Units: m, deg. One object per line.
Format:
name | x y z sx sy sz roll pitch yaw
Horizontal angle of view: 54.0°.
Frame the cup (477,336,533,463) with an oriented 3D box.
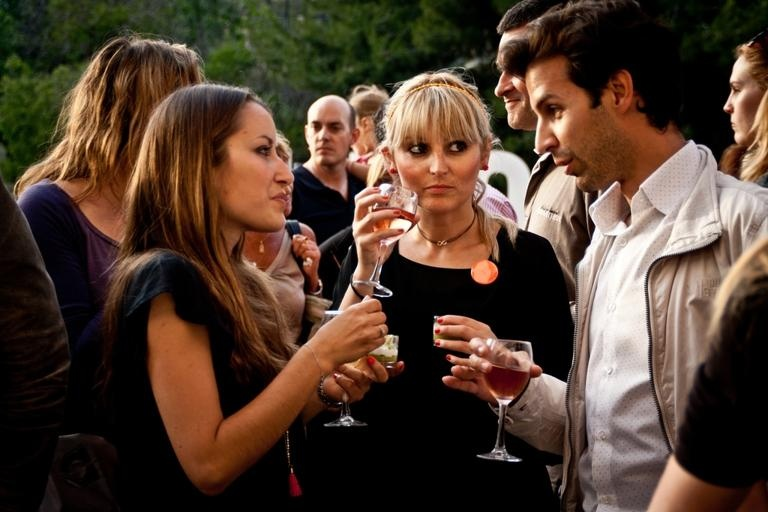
cup | 0.589 0.712 3.640 0.199 0.615 0.214 2 15 -1
